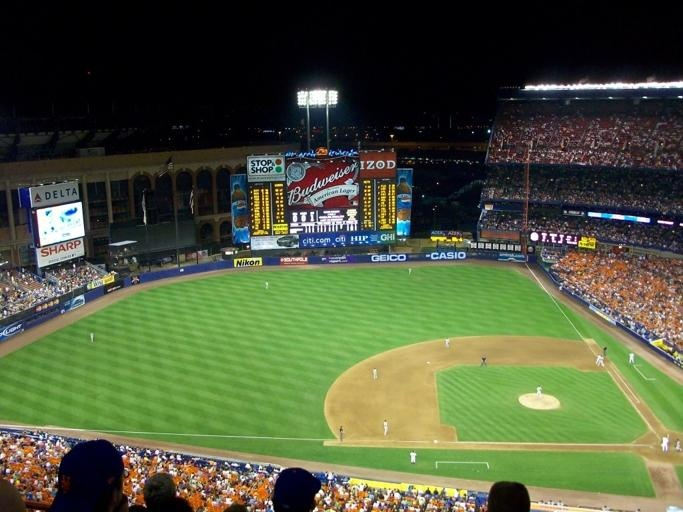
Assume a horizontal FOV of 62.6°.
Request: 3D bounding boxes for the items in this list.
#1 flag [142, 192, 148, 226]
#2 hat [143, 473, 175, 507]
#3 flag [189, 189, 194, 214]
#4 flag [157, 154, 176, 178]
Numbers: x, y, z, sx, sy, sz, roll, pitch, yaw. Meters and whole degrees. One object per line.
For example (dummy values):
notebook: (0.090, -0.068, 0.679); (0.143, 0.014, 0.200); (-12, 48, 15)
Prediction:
flag: (-24.665, -5.907, 71.126); (0.757, 4.422, 3.654); (-4, 12, -19)
hat: (-2.038, 2.619, 6.296); (0.340, 0.380, 0.415); (1, 5, -2)
flag: (-20.031, -7.153, 75.991); (0.710, 3.332, 1.477); (-1, 12, -9)
flag: (-22.055, -11.224, 71.283); (2.188, 2.693, 6.324); (-3, 11, -16)
